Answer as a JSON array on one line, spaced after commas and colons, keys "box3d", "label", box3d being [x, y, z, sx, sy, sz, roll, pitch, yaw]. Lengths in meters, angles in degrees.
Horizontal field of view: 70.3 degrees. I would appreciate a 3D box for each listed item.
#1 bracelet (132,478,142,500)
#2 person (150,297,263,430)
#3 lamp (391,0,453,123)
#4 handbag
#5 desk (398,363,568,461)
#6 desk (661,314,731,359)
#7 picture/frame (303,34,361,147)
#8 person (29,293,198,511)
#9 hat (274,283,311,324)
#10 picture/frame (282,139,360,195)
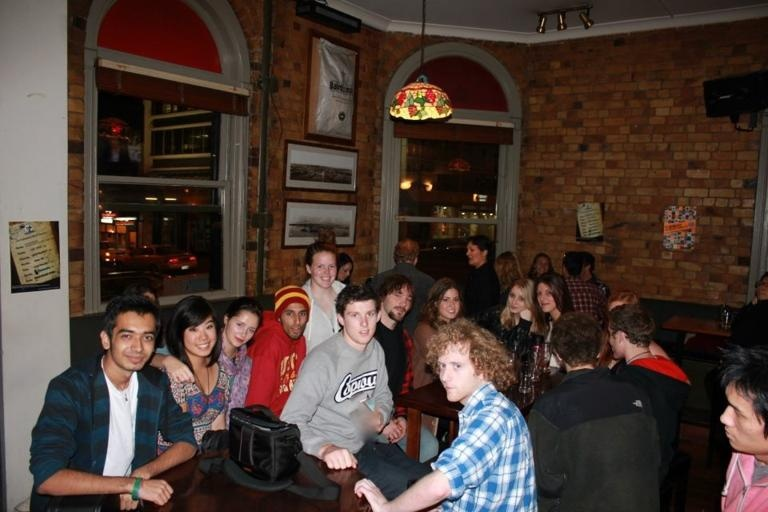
[{"box3d": [-1.221, 1.139, 2.670, 0.045, 0.086, 0.062, 4, 18, -34], "label": "bracelet"}, {"box3d": [-1.102, 0.687, 3.364, 0.264, 0.755, 0.657, -30, -40, 32], "label": "person"}, {"box3d": [0.364, -2.013, 5.383, 0.544, 1.601, 1.559, 1, 3, 2], "label": "lamp"}, {"box3d": [-0.526, 0.998, 2.928, 0.701, 0.337, 0.523, 9, -1, 28], "label": "handbag"}, {"box3d": [0.784, 1.239, 4.262, 0.963, 0.524, 1.209, 2, 3, 29], "label": "desk"}, {"box3d": [3.505, 0.860, 5.935, 0.765, 0.363, 0.743, -1, -35, 35], "label": "desk"}, {"box3d": [-0.608, -1.939, 6.334, 0.093, 1.176, 0.880, 11, 12, 39], "label": "picture/frame"}, {"box3d": [-1.393, 0.786, 2.843, 0.794, 1.134, 0.607, -1, 4, -33], "label": "person"}, {"box3d": [-0.691, 0.357, 4.033, 0.239, 0.181, 0.211, -13, -1, -16], "label": "hat"}, {"box3d": [-0.726, -1.018, 6.329, 1.115, 0.601, 0.042, -2, 12, -43], "label": "picture/frame"}]
